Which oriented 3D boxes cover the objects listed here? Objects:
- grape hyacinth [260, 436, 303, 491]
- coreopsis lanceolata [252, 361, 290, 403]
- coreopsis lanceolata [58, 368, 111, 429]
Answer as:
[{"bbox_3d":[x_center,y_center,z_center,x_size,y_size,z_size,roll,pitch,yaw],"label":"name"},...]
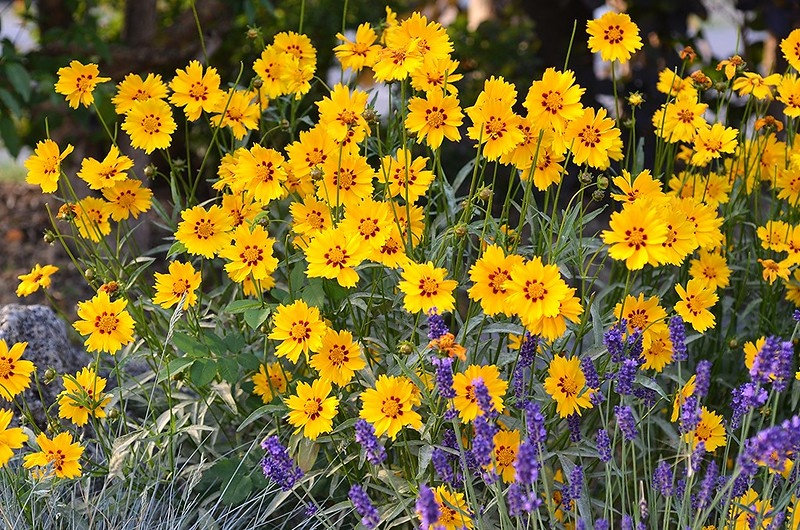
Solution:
[{"bbox_3d":[-0.372,0.634,2.660,0.122,0.214,0.118,3,11,25],"label":"grape hyacinth"},{"bbox_3d":[-0.442,0.421,3.019,0.126,0.175,0.046,2,31,12],"label":"coreopsis lanceolata"},{"bbox_3d":[-1.092,0.445,2.922,0.175,0.258,0.241,-7,22,-23],"label":"coreopsis lanceolata"}]
